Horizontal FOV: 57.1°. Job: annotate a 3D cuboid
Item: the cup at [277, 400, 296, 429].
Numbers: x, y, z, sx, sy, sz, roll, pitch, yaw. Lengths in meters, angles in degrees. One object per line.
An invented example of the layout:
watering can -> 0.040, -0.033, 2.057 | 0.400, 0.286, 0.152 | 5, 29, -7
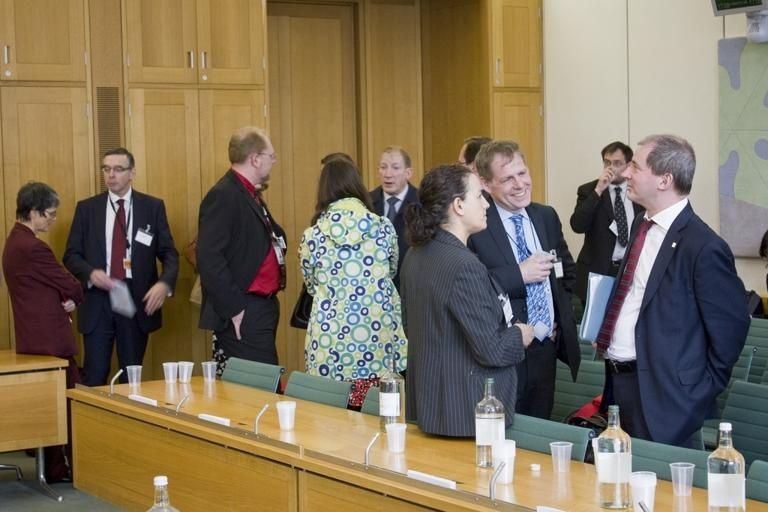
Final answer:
cup -> -0.477, 0.779, 3.499 | 0.108, 0.136, 0.112 | -1, 1, 0

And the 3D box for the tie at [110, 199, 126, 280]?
tie -> -2.228, -0.139, 5.905 | 0.122, 0.653, 0.180 | -1, 7, 4

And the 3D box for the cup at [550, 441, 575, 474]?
cup -> 0.726, 0.823, 2.901 | 0.103, 0.116, 0.112 | 0, -5, 0

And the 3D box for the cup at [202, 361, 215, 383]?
cup -> -1.097, 0.725, 4.445 | 0.093, 0.121, 0.108 | 1, -8, -14

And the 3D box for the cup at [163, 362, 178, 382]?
cup -> -1.365, 0.731, 4.460 | 0.110, 0.139, 0.124 | 0, -4, 3

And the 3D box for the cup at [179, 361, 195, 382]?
cup -> -1.256, 0.727, 4.458 | 0.113, 0.150, 0.124 | 1, -5, 1

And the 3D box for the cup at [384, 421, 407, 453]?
cup -> 0.054, 0.806, 3.157 | 0.097, 0.101, 0.107 | -1, -7, -16

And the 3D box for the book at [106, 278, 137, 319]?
book -> -2.180, 0.354, 5.838 | 0.182, 0.306, 0.079 | -12, 5, -33

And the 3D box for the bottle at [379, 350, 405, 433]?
bottle -> 0.035, 0.645, 3.293 | 0.108, 0.293, 0.250 | -1, 8, 5

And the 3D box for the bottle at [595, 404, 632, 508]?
bottle -> 0.857, 0.748, 2.626 | 0.120, 0.366, 0.117 | -2, 7, 0

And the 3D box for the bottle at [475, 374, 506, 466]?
bottle -> 0.441, 0.699, 2.945 | 0.144, 0.379, 0.093 | 2, 8, 30

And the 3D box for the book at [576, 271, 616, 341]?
book -> 1.111, 0.258, 3.697 | 0.070, 0.314, 0.290 | 7, -22, 16

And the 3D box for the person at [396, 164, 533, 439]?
person -> 0.376, 0.225, 3.312 | 0.616, 1.294, 0.457 | -1, 7, 4
